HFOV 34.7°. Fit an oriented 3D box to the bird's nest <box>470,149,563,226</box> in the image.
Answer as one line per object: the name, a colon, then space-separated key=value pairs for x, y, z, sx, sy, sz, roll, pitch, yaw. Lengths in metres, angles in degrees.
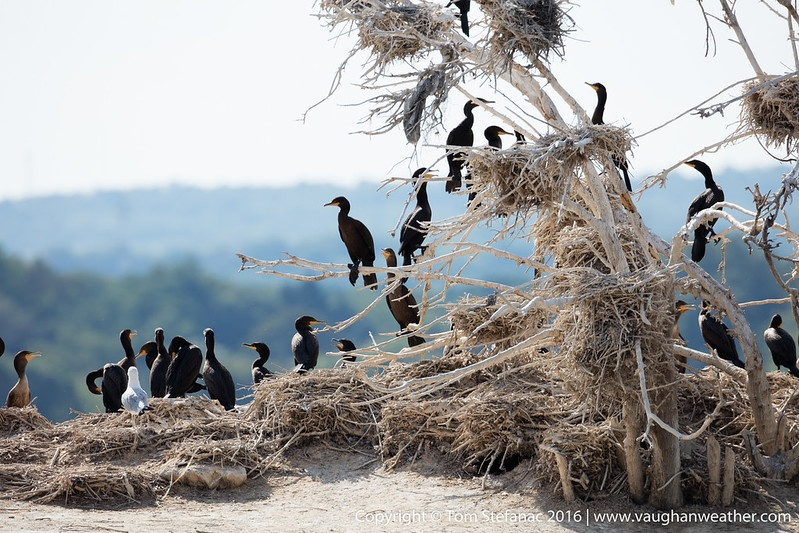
bird's nest: x=1.423 y=-1.006 z=14.988 sx=1.067 sy=0.537 sz=1.058 roll=8 pitch=-35 yaw=-38

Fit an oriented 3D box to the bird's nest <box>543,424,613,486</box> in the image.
bird's nest: x=2.111 y=2.239 z=14.935 sx=0.775 sy=0.405 sz=0.734 roll=5 pitch=-43 yaw=10

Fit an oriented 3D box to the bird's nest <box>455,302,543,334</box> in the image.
bird's nest: x=1.231 y=0.695 z=15.944 sx=1.139 sy=0.332 sz=0.731 roll=-2 pitch=-10 yaw=1
